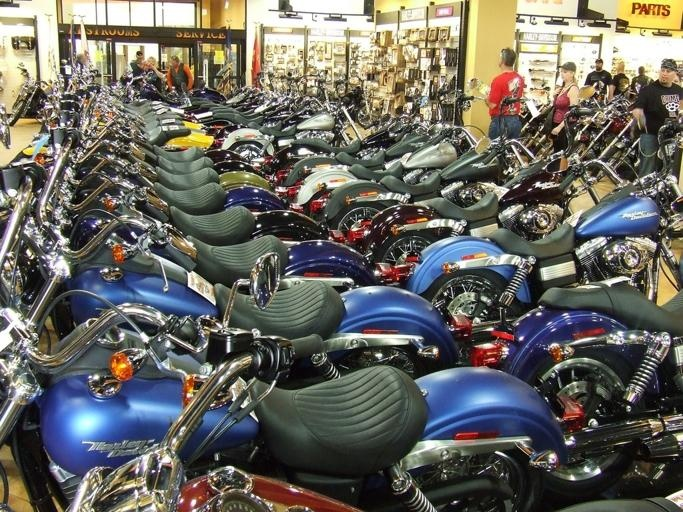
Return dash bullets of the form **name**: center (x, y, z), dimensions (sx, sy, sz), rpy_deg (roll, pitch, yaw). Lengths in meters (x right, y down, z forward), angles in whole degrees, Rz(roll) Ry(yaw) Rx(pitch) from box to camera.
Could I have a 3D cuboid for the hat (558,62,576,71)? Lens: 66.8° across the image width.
- **hat**: center (4.373, -3.608, 9.876), dimensions (0.377, 0.170, 0.269), rpy_deg (2, 19, -7)
